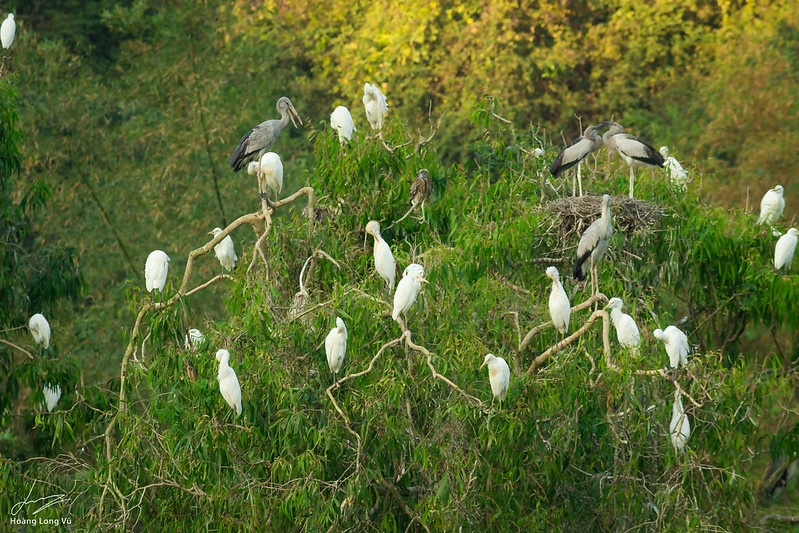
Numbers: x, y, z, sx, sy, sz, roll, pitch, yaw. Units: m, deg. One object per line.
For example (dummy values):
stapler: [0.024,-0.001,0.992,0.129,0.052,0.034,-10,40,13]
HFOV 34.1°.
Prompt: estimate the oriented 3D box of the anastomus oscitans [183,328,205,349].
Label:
anastomus oscitans: [-2.562,0.884,16.242,0.188,0.302,0.302,3,34,-1]

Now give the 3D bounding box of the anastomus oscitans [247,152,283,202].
anastomus oscitans: [-1.716,-1.135,16.740,0.398,0.598,0.581,2,19,34]

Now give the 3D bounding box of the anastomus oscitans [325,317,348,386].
anastomus oscitans: [-0.747,1.008,15.688,0.282,0.815,0.236,-9,14,-5]

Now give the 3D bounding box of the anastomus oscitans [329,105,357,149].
anastomus oscitans: [-0.772,-1.892,17.611,0.211,0.277,0.706,5,52,-15]

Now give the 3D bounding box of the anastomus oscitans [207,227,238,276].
anastomus oscitans: [-2.444,-0.218,17.604,0.557,0.854,0.343,2,3,29]

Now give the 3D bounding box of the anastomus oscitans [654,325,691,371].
anastomus oscitans: [3.265,0.982,15.658,0.395,0.574,0.487,-5,16,12]

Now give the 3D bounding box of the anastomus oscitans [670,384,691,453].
anastomus oscitans: [3.323,1.860,15.497,0.250,0.768,0.324,-4,15,11]

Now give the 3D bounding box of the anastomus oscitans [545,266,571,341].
anastomus oscitans: [1.934,0.500,15.804,0.259,0.901,0.508,-6,15,6]

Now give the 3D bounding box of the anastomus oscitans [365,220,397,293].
anastomus oscitans: [-0.212,-0.108,16.188,0.310,0.833,0.587,-8,15,-2]

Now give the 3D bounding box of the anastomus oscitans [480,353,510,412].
anastomus oscitans: [1.130,1.338,15.362,0.473,0.711,0.236,-17,22,-42]

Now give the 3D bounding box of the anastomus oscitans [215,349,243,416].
anastomus oscitans: [-2.017,1.394,15.425,0.253,0.762,0.329,-10,15,-11]

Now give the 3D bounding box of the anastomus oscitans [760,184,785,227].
anastomus oscitans: [5.314,-0.849,18.547,0.246,0.573,0.545,27,20,5]

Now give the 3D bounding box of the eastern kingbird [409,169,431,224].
eastern kingbird: [0.257,-0.911,17.248,0.217,0.703,0.448,3,43,-14]

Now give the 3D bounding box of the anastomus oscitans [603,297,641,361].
anastomus oscitans: [2.682,0.693,15.546,0.359,0.556,0.827,-11,16,-9]

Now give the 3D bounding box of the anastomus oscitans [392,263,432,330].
anastomus oscitans: [0.131,0.323,15.634,0.355,0.576,0.630,-1,18,23]
